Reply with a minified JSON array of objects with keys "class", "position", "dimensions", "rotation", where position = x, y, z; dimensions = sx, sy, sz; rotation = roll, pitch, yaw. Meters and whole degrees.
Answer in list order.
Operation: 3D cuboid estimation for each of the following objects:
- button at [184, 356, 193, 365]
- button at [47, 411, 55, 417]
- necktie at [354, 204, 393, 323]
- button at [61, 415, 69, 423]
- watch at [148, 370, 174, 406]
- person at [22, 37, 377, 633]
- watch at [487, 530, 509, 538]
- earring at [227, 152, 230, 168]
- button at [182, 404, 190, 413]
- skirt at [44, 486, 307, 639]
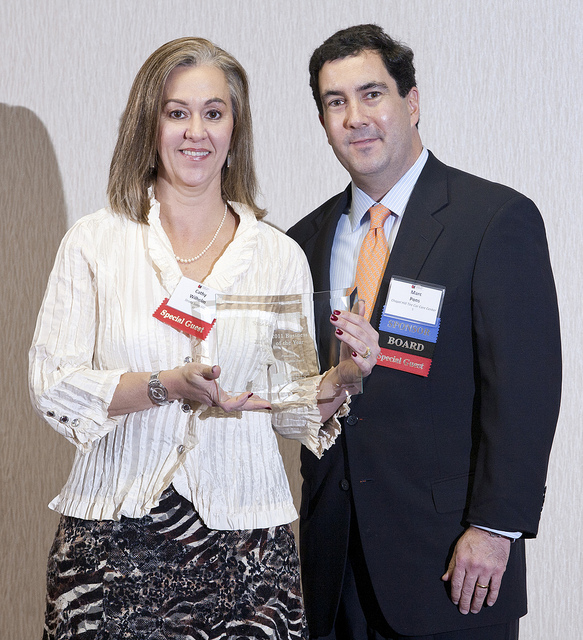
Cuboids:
[{"class":"button","position":[-0.236,0.091,1.734],"dimensions":[0.012,0.014,0.009],"rotation":[6,14,-44]},{"class":"button","position":[-0.523,0.205,1.662],"dimensions":[0.015,0.014,0.004],"rotation":[5,7,10]},{"class":"necktie","position":[0.222,-0.143,2.047],"dimensions":[0.102,0.481,0.103],"rotation":[-16,-35,34]},{"class":"button","position":[-0.492,0.215,1.657],"dimensions":[0.015,0.017,0.003],"rotation":[5,7,11]},{"class":"watch","position":[-0.286,0.149,1.685],"dimensions":[0.039,0.069,0.063],"rotation":[-18,14,12]},{"class":"person","position":[-0.215,0.012,1.750],"dimensions":[0.730,1.343,0.485],"rotation":[0,7,-22]},{"class":"watch","position":[0.496,0.526,1.868],"dimensions":[0.040,0.018,0.009],"rotation":[2,7,-15]},{"class":"earring","position":[-0.164,-0.409,1.952],"dimensions":[0.006,0.036,0.015],"rotation":[0,7,-22]},{"class":"button","position":[-0.238,0.198,1.721],"dimensions":[0.017,0.020,0.005],"rotation":[3,-1,-19]},{"class":"skirt","position":[-0.248,0.540,1.664],"dimensions":[0.554,0.345,0.126],"rotation":[3,7,-9]}]
